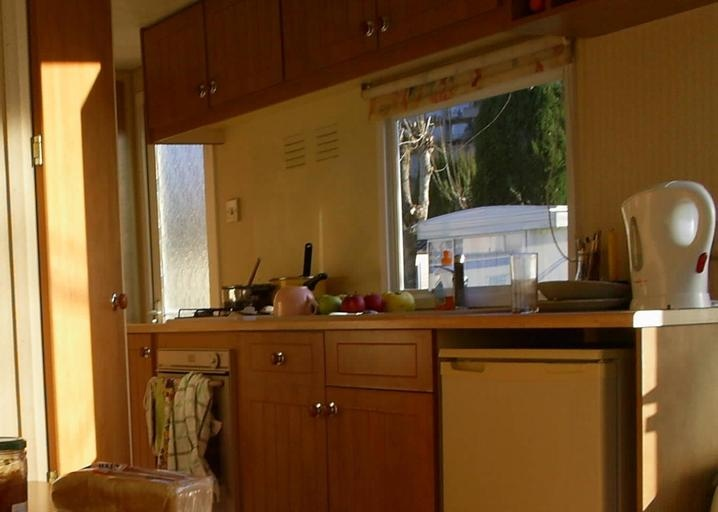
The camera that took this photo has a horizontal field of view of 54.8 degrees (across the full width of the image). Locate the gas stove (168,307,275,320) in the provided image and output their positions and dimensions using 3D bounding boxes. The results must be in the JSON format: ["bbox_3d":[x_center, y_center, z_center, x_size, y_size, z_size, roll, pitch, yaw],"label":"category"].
[{"bbox_3d":[-0.786,0.319,3.895,0.386,0.053,1.223,-2,-4,-21],"label":"gas stove"}]

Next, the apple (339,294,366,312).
[{"bbox_3d":[-0.026,0.223,3.132,0.074,0.114,0.081,2,-7,2],"label":"apple"}]

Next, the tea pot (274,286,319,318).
[{"bbox_3d":[-0.290,0.224,3.229,0.160,0.125,0.127,4,-6,23],"label":"tea pot"}]

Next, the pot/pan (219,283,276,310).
[{"bbox_3d":[-0.579,0.227,3.716,0.288,0.147,0.325,-3,-3,-8],"label":"pot/pan"}]

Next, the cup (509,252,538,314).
[{"bbox_3d":[0.592,0.102,2.511,0.091,0.212,0.084,-2,-3,0],"label":"cup"}]

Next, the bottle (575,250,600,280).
[{"bbox_3d":[0.960,0.048,2.952,0.045,0.121,0.114,-1,-4,-36],"label":"bottle"}]

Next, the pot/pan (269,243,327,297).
[{"bbox_3d":[-0.302,0.057,3.714,0.193,0.317,0.331,0,-2,-28],"label":"pot/pan"}]

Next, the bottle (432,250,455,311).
[{"bbox_3d":[0.408,0.117,3.379,0.104,0.288,0.196,-3,-3,8],"label":"bottle"}]

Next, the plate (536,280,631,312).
[{"bbox_3d":[0.855,0.154,2.641,0.350,0.120,0.218,-4,-3,13],"label":"plate"}]

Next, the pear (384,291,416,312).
[{"bbox_3d":[0.186,0.218,3.220,0.128,0.092,0.118,-4,-4,27],"label":"pear"}]

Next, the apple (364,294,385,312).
[{"bbox_3d":[0.070,0.224,3.182,0.072,0.101,0.078,-4,-9,6],"label":"apple"}]
